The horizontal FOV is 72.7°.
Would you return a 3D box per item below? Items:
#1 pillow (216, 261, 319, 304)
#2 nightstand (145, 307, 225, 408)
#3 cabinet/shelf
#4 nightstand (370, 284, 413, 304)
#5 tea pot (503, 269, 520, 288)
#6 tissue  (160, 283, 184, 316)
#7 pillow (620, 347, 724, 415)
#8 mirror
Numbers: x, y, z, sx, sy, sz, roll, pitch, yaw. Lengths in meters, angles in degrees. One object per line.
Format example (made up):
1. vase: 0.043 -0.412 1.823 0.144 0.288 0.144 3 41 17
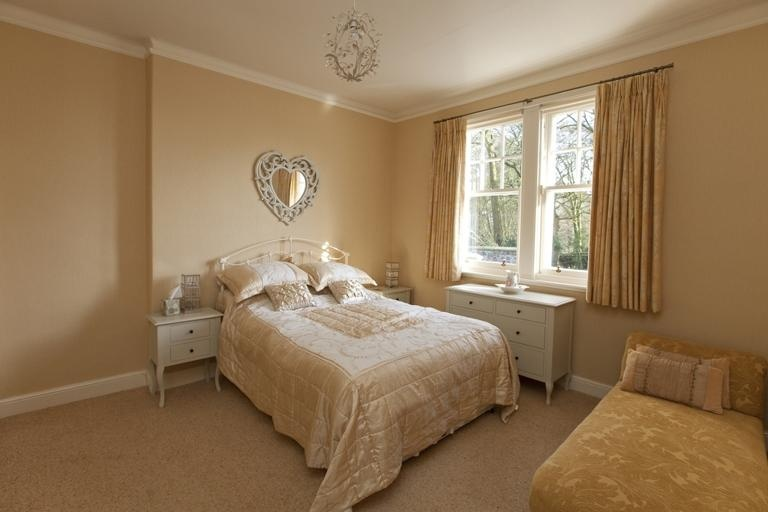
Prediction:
1. pillow: -1.348 0.231 5.832 0.626 0.182 0.565 -6 25 -36
2. nightstand: -2.181 1.074 5.672 0.684 0.900 0.512 -5 9 -38
3. cabinet/shelf: 1.429 0.956 6.144 1.354 1.101 0.585 7 11 43
4. nightstand: 0.108 0.438 7.143 0.383 0.383 0.277 -1 4 -43
5. tea pot: 1.469 0.277 6.045 0.206 0.209 0.134 2 -1 -37
6. tissue : -2.265 0.500 5.575 0.298 0.317 0.185 2 2 41
7. pillow: 2.689 1.099 4.868 0.812 0.244 0.785 7 22 44
8. mirror: -1.181 -0.812 6.391 0.917 0.907 0.082 10 16 17
